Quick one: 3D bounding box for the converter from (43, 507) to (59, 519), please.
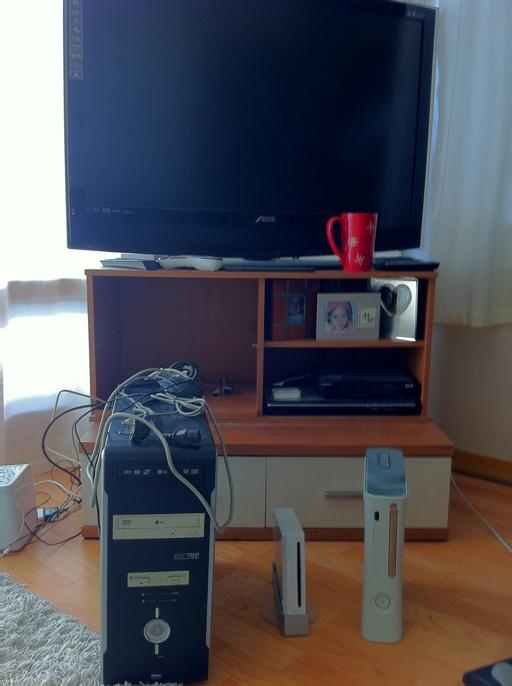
[{"bbox_3d":[-0.512,0.430,1.453,0.037,0.017,0.055,-2,8,-21],"label":"converter"}]

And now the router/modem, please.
[{"bbox_3d":[0.063,0.407,1.061,0.067,0.187,0.190,1,7,3],"label":"router/modem"}]

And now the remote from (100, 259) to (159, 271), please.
[{"bbox_3d":[-0.305,-0.195,1.425,0.146,0.027,0.099,-2,8,-17],"label":"remote"}]

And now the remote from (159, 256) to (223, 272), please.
[{"bbox_3d":[-0.163,-0.199,1.444,0.173,0.036,0.079,5,9,31],"label":"remote"}]

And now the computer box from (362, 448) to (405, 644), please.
[{"bbox_3d":[0.216,0.347,0.984,0.068,0.320,0.083,2,6,13],"label":"computer box"}]
